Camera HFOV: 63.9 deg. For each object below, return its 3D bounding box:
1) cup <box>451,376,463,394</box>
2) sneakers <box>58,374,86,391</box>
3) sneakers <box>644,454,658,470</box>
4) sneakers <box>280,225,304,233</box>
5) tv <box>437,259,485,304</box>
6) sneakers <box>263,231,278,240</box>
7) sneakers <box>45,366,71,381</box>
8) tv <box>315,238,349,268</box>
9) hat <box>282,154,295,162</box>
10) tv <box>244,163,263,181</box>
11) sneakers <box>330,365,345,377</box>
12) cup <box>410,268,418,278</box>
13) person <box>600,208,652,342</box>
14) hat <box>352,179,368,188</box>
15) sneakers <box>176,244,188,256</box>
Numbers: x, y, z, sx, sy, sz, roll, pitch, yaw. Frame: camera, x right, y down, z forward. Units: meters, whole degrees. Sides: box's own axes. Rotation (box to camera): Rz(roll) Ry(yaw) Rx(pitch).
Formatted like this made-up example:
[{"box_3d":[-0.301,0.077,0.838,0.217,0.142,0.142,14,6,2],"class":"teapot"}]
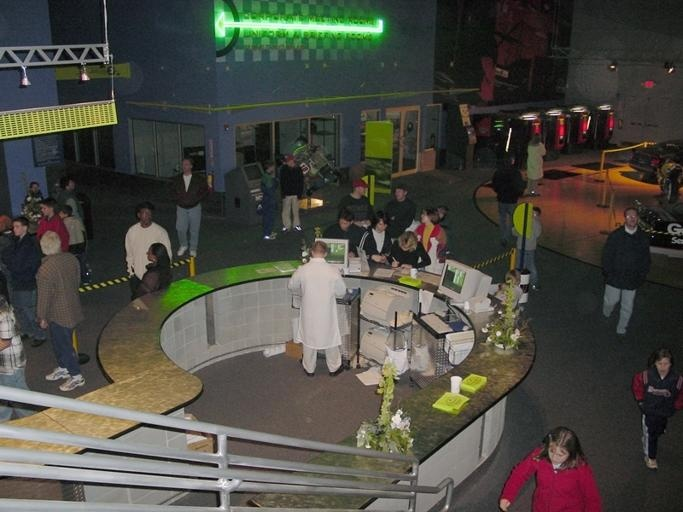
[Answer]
[{"box_3d":[1.160,1.326,5.675,0.161,0.157,0.159,0,17,0],"class":"cup"},{"box_3d":[-3.597,1.692,7.358,0.366,0.181,0.149,-26,62,-36],"class":"sneakers"},{"box_3d":[3.509,2.341,6.209,0.091,0.058,0.162,-8,27,6],"class":"sneakers"},{"box_3d":[-1.244,-0.690,13.901,0.556,0.225,0.187,-1,12,-25],"class":"sneakers"},{"box_3d":[1.624,0.375,7.607,0.367,0.461,0.501,14,11,-39],"class":"tv"},{"box_3d":[-1.743,-0.480,13.380,0.132,0.275,0.404,-1,-14,43],"class":"sneakers"},{"box_3d":[-3.898,1.630,7.573,0.363,0.181,0.138,-10,36,-22],"class":"sneakers"},{"box_3d":[-0.144,-0.036,8.036,0.402,0.370,0.215,4,13,9],"class":"tv"},{"box_3d":[-1.263,-2.384,13.396,0.210,0.092,0.283,2,26,-5],"class":"hat"},{"box_3d":[-2.269,-2.136,14.090,0.283,0.488,0.522,-12,5,37],"class":"tv"},{"box_3d":[-0.064,1.657,8.008,0.090,0.240,0.109,17,-11,13],"class":"sneakers"},{"box_3d":[1.105,0.264,8.316,0.156,0.154,0.088,-10,20,-31],"class":"cup"},{"box_3d":[4.401,0.257,8.580,0.643,2.048,0.317,9,22,27],"class":"person"},{"box_3d":[0.339,-1.324,9.990,0.248,0.098,0.174,-9,16,-36],"class":"hat"},{"box_3d":[-3.514,-0.143,12.127,0.138,0.128,0.321,3,23,4],"class":"sneakers"}]
